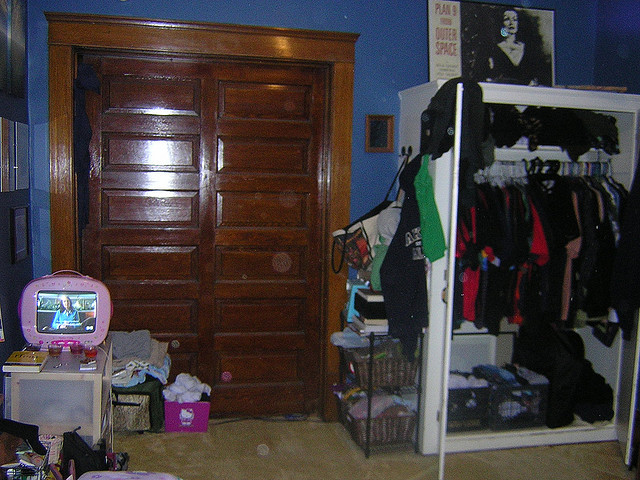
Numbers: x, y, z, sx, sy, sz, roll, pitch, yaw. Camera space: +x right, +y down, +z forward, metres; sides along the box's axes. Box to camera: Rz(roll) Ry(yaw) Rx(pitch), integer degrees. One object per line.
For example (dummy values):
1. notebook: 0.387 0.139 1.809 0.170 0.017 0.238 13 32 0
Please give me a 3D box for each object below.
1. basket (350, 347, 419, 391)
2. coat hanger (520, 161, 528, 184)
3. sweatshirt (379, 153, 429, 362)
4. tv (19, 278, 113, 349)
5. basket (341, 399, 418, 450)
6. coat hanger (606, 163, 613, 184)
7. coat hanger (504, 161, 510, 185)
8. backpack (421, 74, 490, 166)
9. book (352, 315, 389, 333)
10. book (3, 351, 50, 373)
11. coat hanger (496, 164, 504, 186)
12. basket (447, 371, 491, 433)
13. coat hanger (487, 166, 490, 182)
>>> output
1. basket: 0.596 0.937 3.886 0.618 0.285 0.507 9 -11 -31
2. coat hanger: 1.406 -0.462 3.740 0.047 0.106 0.085 1 1 20
3. sweatshirt: 0.557 0.095 3.582 0.306 1.307 0.160 1 1 7
4. tv: -1.514 0.398 3.127 0.491 0.439 0.264 -3 -21 6
5. basket: 0.422 1.251 3.680 0.372 0.185 0.496 0 0 -9
6. coat hanger: 2.036 -0.467 3.819 0.041 0.118 0.154 2 1 28
7. coat hanger: 1.285 -0.457 3.730 0.034 0.163 0.092 1 1 15
8. backpack: 0.855 -0.725 3.411 0.540 0.683 0.133 6 -2 7
9. book: 0.311 0.571 3.708 0.129 0.093 0.320 0 1 -36
10. book: -1.549 0.645 2.864 0.182 0.081 0.143 1 1 -14
11. coat hanger: 1.252 -0.436 3.778 0.044 0.140 0.012 -15 -28 26
12. basket: 1.005 1.114 3.828 0.363 0.369 0.227 1 -6 -9
13. coat hanger: 1.164 -0.447 3.750 0.014 0.100 0.119 1 1 17
